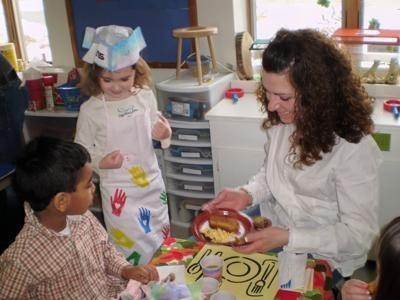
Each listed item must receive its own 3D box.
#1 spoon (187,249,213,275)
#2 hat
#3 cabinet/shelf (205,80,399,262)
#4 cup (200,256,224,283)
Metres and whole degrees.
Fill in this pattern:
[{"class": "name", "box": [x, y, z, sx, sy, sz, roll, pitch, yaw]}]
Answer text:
[{"class": "spoon", "box": [-0.011, 0.460, 1.371, 0.059, 0.004, 0.144, -25, 17, 30]}, {"class": "hat", "box": [-0.481, -0.581, 1.923, 0.354, 0.230, 0.257, -11, 23, -17]}, {"class": "cabinet/shelf", "box": [0.742, 0.329, 2.974, 1.706, 1.653, 0.914, 8, 26, 11]}, {"class": "cup", "box": [0.046, 0.435, 1.279, 0.082, 0.073, 0.090, -1, 11, 0]}]
